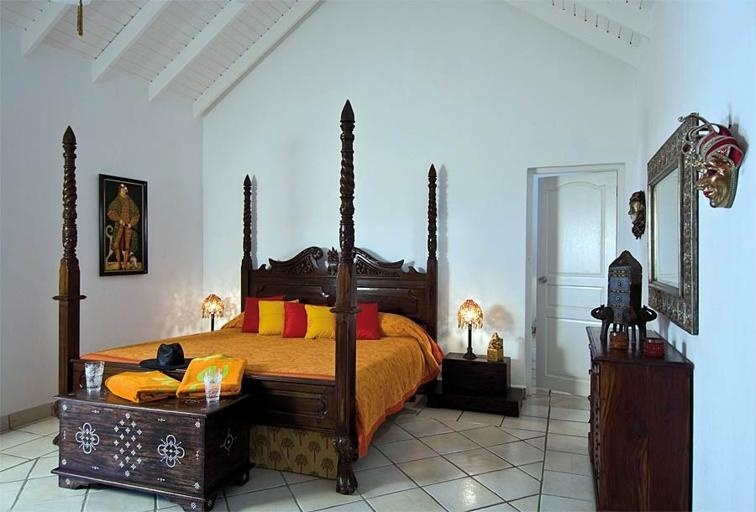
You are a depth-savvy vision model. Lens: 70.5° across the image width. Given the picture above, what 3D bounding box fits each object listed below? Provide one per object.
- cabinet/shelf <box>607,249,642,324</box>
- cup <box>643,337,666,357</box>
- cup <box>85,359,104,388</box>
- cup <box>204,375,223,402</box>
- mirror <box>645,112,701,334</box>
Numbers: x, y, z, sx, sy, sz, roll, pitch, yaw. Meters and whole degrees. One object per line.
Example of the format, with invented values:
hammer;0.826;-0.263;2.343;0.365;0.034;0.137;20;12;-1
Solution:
cabinet/shelf;1.868;0.287;4.037;0.226;0.427;0.162;4;9;25
cup;1.893;0.627;3.669;0.139;0.130;0.113;-1;-5;10
cup;-2.263;0.961;4.233;0.127;0.223;0.124;0;8;0
cup;-1.251;0.987;4.037;0.153;0.235;0.177;0;-4;-6
mirror;2.253;-0.181;4.155;0.080;1.358;1.842;-2;1;20
